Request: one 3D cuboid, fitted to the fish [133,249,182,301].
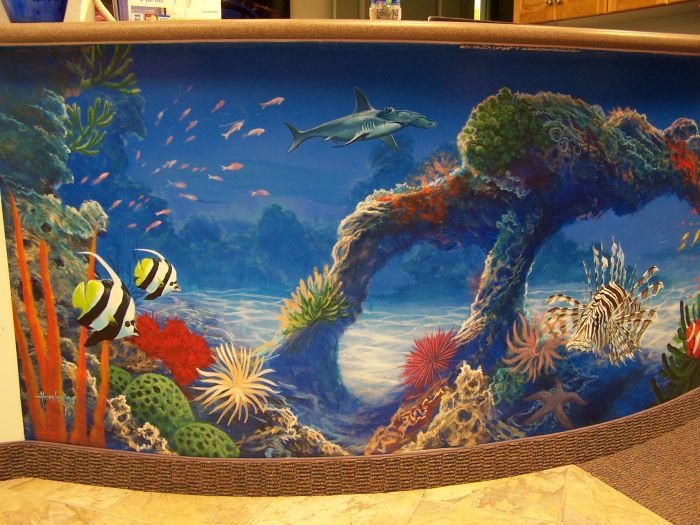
[{"bbox_3d":[-0.894,0.053,2.982,0.141,0.226,0.175,-1,11,-15],"label":"fish"}]

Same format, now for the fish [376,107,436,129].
[{"bbox_3d":[0.237,-0.652,2.924,0.169,0.043,0.058,12,15,-4],"label":"fish"}]
